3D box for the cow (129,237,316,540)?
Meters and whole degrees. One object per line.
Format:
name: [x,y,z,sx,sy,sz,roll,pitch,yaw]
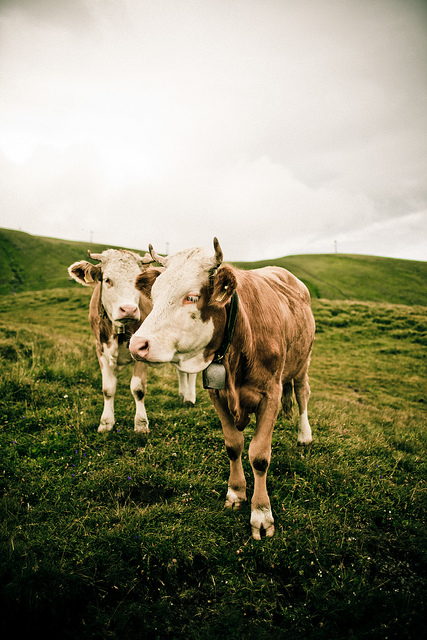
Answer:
cow: [0.199,0.580,4.954,1.344,2.530,2.432,11,7,29]
